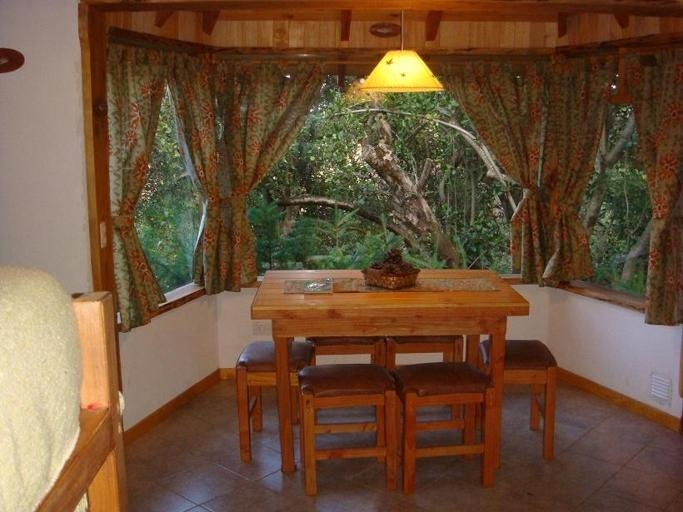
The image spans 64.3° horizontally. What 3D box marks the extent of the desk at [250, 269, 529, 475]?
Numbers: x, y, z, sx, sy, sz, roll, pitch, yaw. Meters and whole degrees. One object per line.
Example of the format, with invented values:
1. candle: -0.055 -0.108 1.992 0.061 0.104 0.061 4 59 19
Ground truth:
1. desk: 0.243 0.924 3.642 1.665 1.198 1.153 -1 19 -2

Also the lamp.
1. lamp: 0.353 -1.169 2.976 0.474 0.500 0.496 9 33 9
